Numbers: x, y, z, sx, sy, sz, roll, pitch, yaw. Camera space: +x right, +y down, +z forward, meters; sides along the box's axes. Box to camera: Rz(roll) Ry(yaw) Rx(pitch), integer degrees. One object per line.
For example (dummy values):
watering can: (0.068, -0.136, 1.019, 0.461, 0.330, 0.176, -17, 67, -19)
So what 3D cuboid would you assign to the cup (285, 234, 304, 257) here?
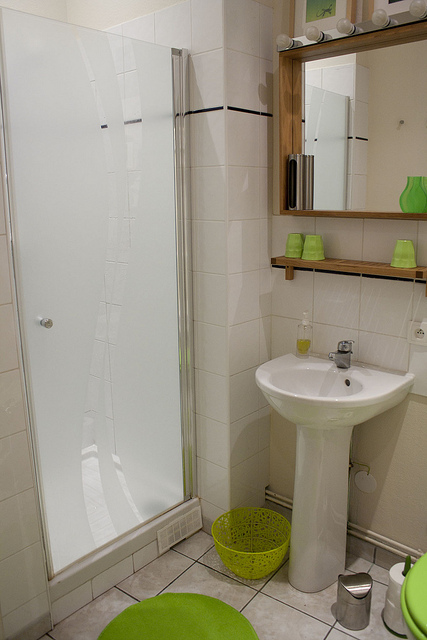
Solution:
cup: (0.320, -0.295, 1.809, 0.060, 0.097, 0.077, 0, 7, 4)

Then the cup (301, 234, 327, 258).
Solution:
cup: (0.380, -0.275, 1.720, 0.069, 0.092, 0.078, 5, 17, 33)

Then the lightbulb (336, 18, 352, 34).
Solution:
lightbulb: (0.402, -0.900, 1.393, 0.043, 0.049, 0.038, 2, -2, 20)

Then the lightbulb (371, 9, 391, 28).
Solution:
lightbulb: (0.488, -0.874, 1.321, 0.036, 0.046, 0.076, -13, 6, 45)

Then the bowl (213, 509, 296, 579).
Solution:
bowl: (0.161, 0.969, 2.001, 0.246, 0.173, 0.248, 2, -38, 1)

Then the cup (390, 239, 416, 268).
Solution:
cup: (0.616, -0.212, 1.467, 0.067, 0.096, 0.076, 3, 14, 28)

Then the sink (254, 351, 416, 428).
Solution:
sink: (0.405, 0.258, 1.567, 0.533, 0.282, 0.583, 2, -3, 28)

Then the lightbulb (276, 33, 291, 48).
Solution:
lightbulb: (0.242, -0.965, 1.568, 0.050, 0.039, 0.042, 2, -2, 10)

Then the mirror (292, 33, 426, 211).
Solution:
mirror: (0.506, -0.679, 1.532, 0.157, 0.569, 0.466, -13, 17, -43)
